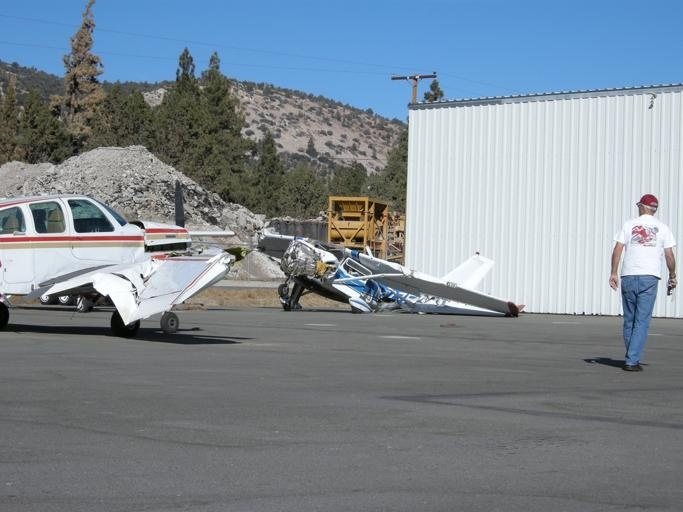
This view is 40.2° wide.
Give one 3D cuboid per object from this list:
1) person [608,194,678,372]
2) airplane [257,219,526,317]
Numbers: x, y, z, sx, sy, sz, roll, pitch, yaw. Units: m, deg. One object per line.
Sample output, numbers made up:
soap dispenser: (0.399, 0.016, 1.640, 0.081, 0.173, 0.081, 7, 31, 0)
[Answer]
person: (4.053, 0.386, 12.623, 0.842, 2.364, 1.073, 2, 7, 15)
airplane: (0.758, 0.554, 21.869, 2.985, 1.045, 3.566, 19, -7, -21)
